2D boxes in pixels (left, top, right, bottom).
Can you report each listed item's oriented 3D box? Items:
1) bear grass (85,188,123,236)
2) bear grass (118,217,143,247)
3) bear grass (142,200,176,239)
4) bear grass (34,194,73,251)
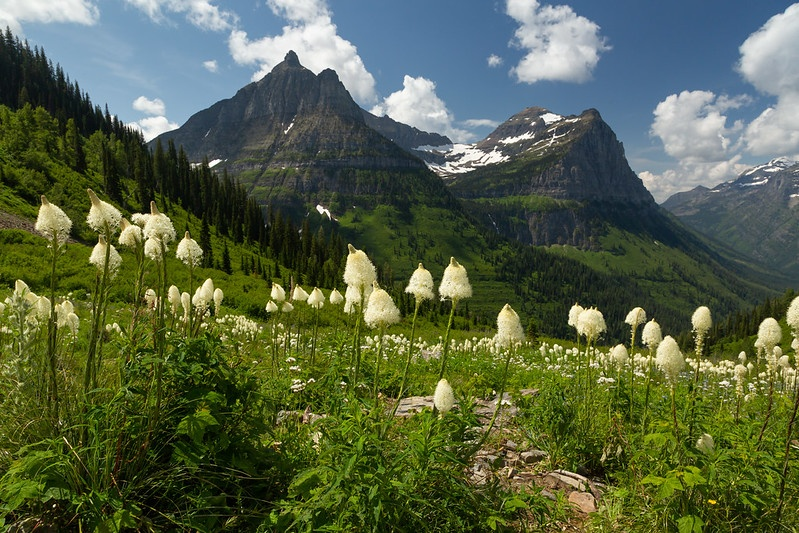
[{"bbox_3d":[-5.988,-1.089,12.316,0.612,0.919,0.975,7,-8,-21],"label":"bear grass"},{"bbox_3d":[-5.690,-0.725,12.887,0.473,0.651,0.849,8,-8,-26],"label":"bear grass"},{"bbox_3d":[-5.154,-0.969,12.919,0.543,0.843,0.533,-8,6,14],"label":"bear grass"},{"bbox_3d":[-6.953,-0.859,12.214,0.583,1.005,0.693,9,-9,-32],"label":"bear grass"}]
